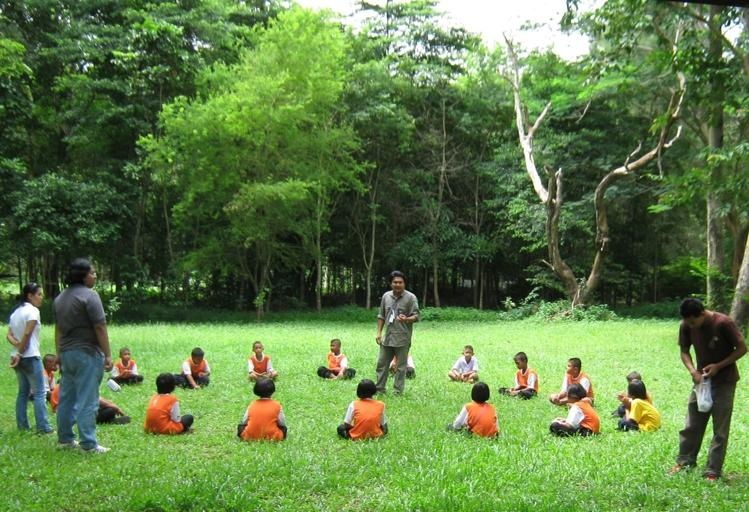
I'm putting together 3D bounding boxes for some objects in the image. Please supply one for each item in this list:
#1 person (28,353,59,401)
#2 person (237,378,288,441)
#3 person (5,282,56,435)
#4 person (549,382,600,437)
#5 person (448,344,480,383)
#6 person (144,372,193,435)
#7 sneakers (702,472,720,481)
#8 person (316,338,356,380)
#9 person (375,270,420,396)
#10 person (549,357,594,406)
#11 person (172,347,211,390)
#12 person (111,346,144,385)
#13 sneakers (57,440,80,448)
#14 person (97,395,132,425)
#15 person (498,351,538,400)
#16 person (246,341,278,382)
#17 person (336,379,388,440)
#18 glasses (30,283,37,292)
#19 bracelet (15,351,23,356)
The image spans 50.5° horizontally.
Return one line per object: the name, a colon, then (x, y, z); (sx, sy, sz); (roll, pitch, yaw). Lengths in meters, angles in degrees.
person: (-8.888, 3.331, 21.891); (0.772, 1.190, 0.771); (3, 0, 19)
person: (-2.826, 3.911, 20.275); (1.210, 1.622, 0.432); (0, -2, -11)
person: (-8.849, 2.624, 20.369); (0.958, 3.869, 0.643); (0, -2, 7)
person: (5.360, 4.083, 20.945); (1.151, 1.384, 1.415); (1, 1, 23)
person: (2.747, 3.330, 24.233); (0.884, 1.144, 0.878); (0, 0, 8)
person: (-5.334, 3.808, 20.537); (1.180, 1.566, 0.501); (1, -2, -17)
sneakers: (8.039, 5.276, 18.873); (0.163, 0.098, 0.285); (0, 6, -5)
person: (-1.149, 3.183, 24.291); (1.153, 1.262, 0.721); (0, 0, 9)
person: (0.696, 2.173, 22.851); (1.227, 3.509, 0.999); (-1, -2, 20)
person: (5.550, 3.566, 22.190); (1.138, 1.487, 1.492); (-1, 0, -25)
person: (-5.313, 3.295, 23.365); (1.060, 1.218, 1.042); (10, 9, 39)
person: (-7.384, 3.286, 23.397); (0.913, 1.135, 0.730); (-4, 4, -41)
sneakers: (-7.567, 4.712, 19.675); (0.536, 0.237, 0.208); (0, 3, -14)
person: (-6.921, 4.090, 21.106); (0.773, 1.311, 0.658); (0, 1, -41)
person: (4.305, 3.495, 23.106); (0.915, 1.417, 1.337); (0, -3, -28)
person: (-3.428, 3.196, 23.833); (0.862, 1.210, 0.947); (-4, 7, -32)
person: (-0.236, 3.941, 20.324); (1.209, 1.548, 0.375); (0, -2, -4)
glasses: (-8.798, 0.805, 20.418); (0.172, 0.217, 0.225); (5, 2, 43)
bracelet: (-9.016, 2.497, 20.164); (0.166, 0.114, 0.054); (1, -2, -13)
